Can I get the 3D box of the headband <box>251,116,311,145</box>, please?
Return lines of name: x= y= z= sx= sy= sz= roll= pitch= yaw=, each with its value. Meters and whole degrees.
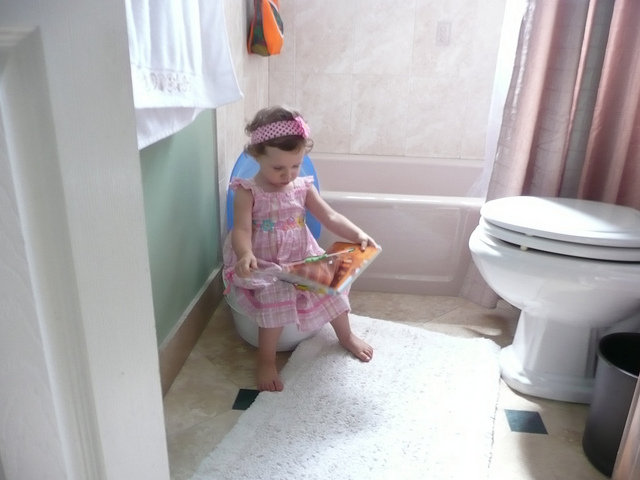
headband: x=-0.113 y=-0.299 z=1.262 sx=0.162 sy=0.081 sz=0.087 roll=-3 pitch=27 yaw=-7

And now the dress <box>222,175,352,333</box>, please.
dress: x=-0.134 y=0.054 z=1.390 sx=0.311 sy=0.503 sz=0.328 roll=-4 pitch=23 yaw=-23

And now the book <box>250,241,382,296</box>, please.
book: x=-0.027 y=0.068 z=1.235 sx=0.286 sy=0.078 sz=0.365 roll=9 pitch=17 yaw=16
